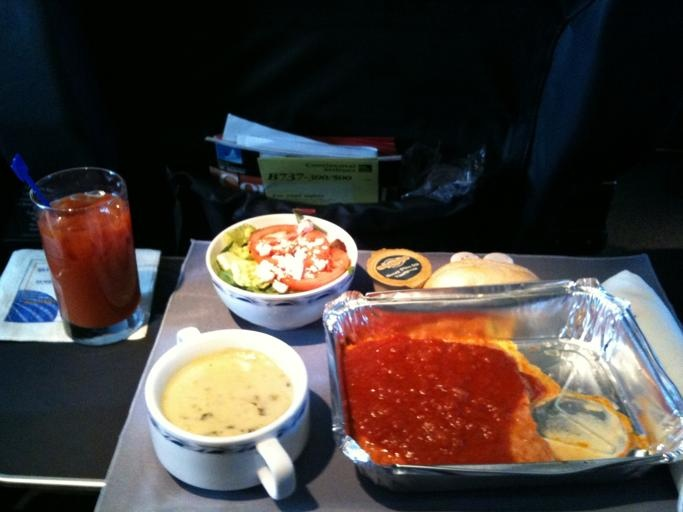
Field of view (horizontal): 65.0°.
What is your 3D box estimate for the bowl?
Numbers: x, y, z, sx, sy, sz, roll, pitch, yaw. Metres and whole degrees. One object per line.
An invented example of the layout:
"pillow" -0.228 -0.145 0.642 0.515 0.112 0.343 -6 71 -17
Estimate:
"bowl" -0.127 0.019 1.105 0.270 0.127 0.266 2 31 -1
